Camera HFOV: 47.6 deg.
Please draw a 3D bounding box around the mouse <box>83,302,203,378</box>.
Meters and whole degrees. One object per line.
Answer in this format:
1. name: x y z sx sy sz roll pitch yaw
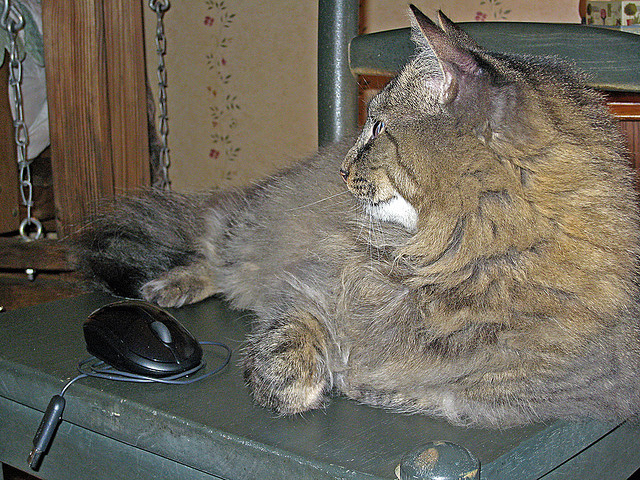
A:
1. mouse: -0.312 0.164 1.326 0.176 0.059 0.128 15 16 23
